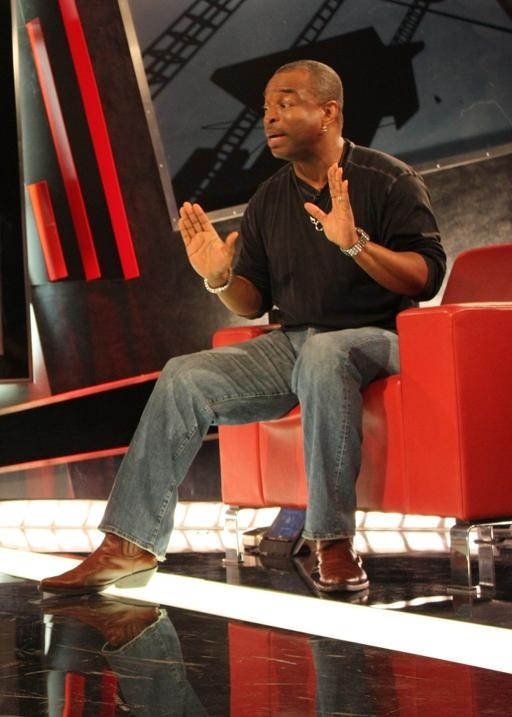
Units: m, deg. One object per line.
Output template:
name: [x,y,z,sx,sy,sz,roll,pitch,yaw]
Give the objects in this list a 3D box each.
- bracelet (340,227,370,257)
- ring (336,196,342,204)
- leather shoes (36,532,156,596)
bracelet: [0.204,-0.231,1.396,0.028,0.068,0.055,38,14,-1]
ring: [0.159,-0.310,1.339,0.011,0.015,0.010,0,13,0]
leather shoes: [-0.302,0.408,1.386,0.259,0.105,0.089,-1,-3,-7]
